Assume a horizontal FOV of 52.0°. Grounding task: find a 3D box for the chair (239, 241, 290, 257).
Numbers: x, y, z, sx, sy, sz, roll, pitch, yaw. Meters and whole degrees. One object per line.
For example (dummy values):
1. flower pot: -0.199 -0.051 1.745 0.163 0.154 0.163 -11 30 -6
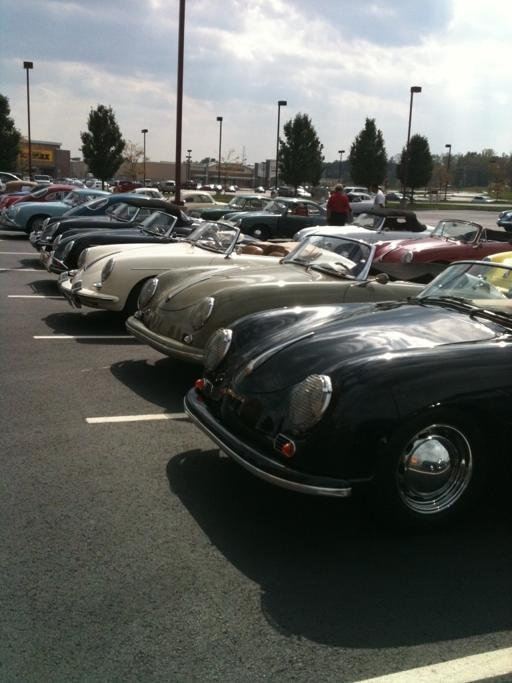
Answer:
1. chair: 0.129 -1.543 8.789 0.633 0.231 0.425 -3 13 -9
